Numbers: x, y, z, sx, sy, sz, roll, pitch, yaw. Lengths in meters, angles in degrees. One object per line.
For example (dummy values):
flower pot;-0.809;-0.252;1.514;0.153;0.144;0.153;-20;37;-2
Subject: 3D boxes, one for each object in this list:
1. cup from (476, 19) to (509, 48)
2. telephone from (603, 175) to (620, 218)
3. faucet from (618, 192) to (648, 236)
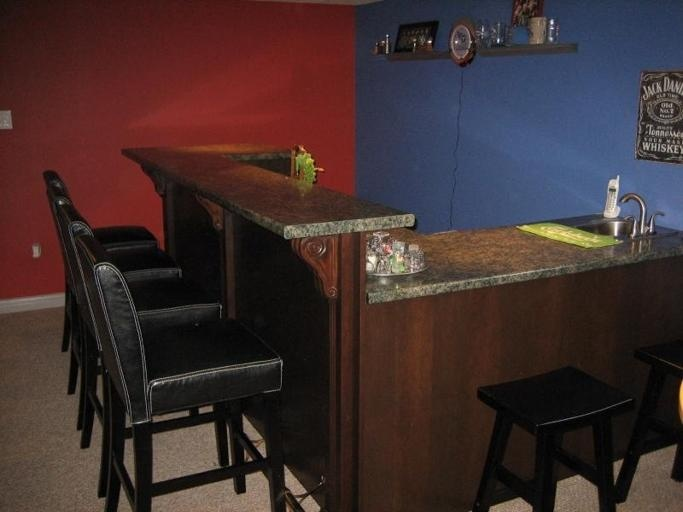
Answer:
cup;1.104;-1.615;4.272;0.247;0.215;0.143;7;16;40
telephone;1.713;-0.374;3.697;0.088;0.238;0.352;2;13;24
faucet;1.690;-0.251;3.346;0.210;0.224;0.171;-12;15;-36
